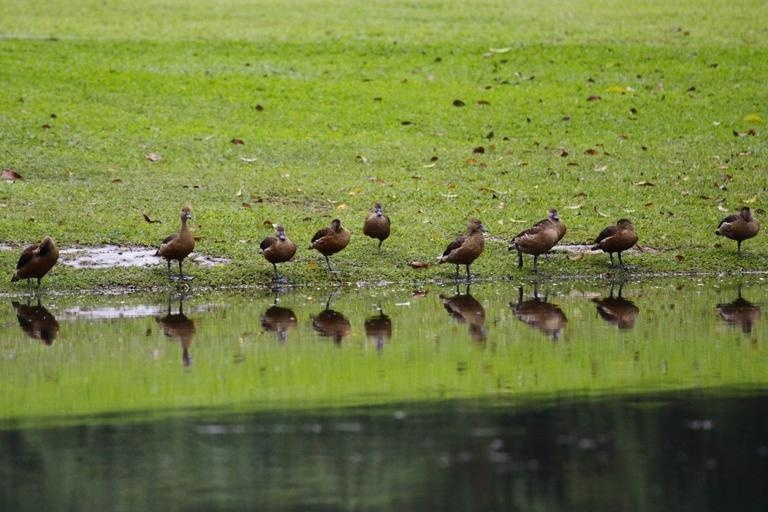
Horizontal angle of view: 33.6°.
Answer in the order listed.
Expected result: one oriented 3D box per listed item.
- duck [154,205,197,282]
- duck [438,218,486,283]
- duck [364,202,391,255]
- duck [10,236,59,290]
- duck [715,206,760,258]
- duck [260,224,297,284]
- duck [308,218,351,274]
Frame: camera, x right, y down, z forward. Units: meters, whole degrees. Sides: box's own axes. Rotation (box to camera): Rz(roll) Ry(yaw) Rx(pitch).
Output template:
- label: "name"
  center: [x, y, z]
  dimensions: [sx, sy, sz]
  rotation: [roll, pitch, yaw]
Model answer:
- label: "duck"
  center: [-6.073, -0.383, 37.113]
  dimensions: [1.025, 2.069, 1.529]
  rotation: [-4, 3, -11]
- label: "duck"
  center: [2.228, -0.158, 37.070]
  dimensions: [1.162, 1.821, 1.408]
  rotation: [-5, 3, -15]
- label: "duck"
  center: [-0.215, -0.862, 38.451]
  dimensions: [0.791, 1.523, 1.343]
  rotation: [-4, 3, -1]
- label: "duck"
  center: [-9.681, 0.120, 35.685]
  dimensions: [1.748, 1.308, 0.853]
  rotation: [4, 6, 38]
- label: "duck"
  center: [10.647, -0.770, 38.432]
  dimensions: [1.251, 1.403, 1.115]
  rotation: [-3, 3, 13]
- label: "duck"
  center: [-3.071, -0.093, 37.044]
  dimensions: [0.960, 1.643, 1.269]
  rotation: [-4, 3, -8]
- label: "duck"
  center: [-1.631, -0.340, 37.606]
  dimensions: [1.086, 1.500, 1.123]
  rotation: [-5, 3, -19]
